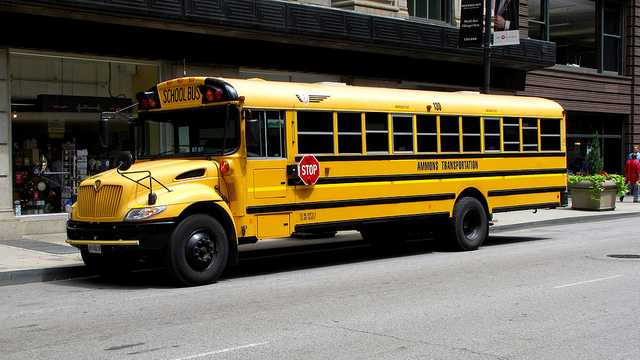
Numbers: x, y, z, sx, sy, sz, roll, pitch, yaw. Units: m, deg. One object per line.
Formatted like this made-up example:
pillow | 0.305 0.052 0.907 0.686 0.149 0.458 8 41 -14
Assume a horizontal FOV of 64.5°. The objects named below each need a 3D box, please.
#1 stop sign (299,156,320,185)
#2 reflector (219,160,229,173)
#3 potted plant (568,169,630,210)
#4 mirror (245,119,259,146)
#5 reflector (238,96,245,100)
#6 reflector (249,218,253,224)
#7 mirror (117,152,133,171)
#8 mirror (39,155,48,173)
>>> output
stop sign | -0.297 -0.256 12.821 0.709 0.774 0.236 4 -8 -38
reflector | -2.231 -0.335 11.971 0.257 0.248 0.256 2 1 29
potted plant | 13.319 0.511 24.983 2.391 1.600 2.106 2 -4 -6
mirror | -1.635 -1.145 12.265 0.369 0.618 0.075 -4 5 -40
reflector | -1.856 -1.967 12.107 0.146 0.078 0.030 -4 4 -37
reflector | -1.657 0.990 12.240 0.082 0.126 0.006 -3 4 -30
mirror | -4.584 -0.437 11.986 0.381 0.374 0.067 -32 -18 36
mirror | -10.435 -0.627 19.203 0.245 0.652 0.395 -3 4 -25
